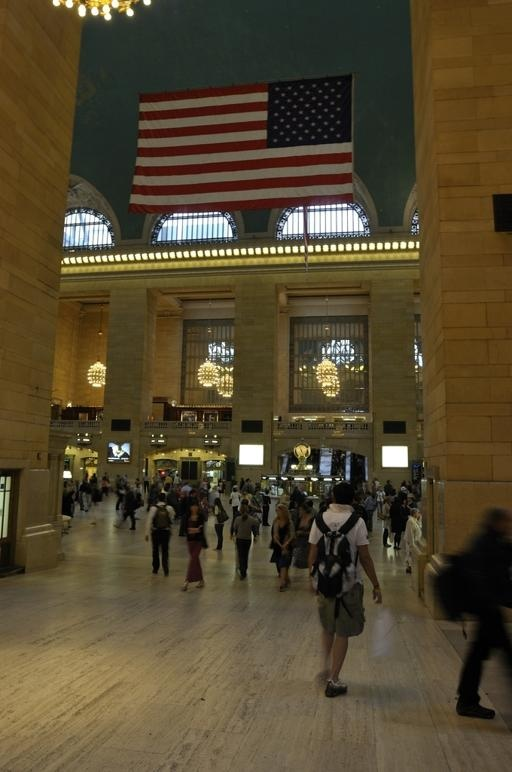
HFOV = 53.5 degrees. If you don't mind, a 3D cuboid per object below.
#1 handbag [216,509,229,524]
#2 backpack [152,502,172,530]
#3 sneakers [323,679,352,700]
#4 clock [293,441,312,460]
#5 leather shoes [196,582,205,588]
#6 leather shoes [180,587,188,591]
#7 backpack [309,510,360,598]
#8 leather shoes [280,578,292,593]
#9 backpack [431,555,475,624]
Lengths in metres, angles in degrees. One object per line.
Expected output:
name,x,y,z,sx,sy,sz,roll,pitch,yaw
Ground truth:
handbag,-0.842,3.179,12.306,0.244,0.335,0.859,3,-7,-4
backpack,-1.586,2.192,8.436,0.292,0.433,0.226,4,-7,-12
sneakers,0.500,1.839,3.095,0.158,0.108,0.074,1,-2,-37
clock,2.144,3.072,23.392,0.574,0.772,1.638,1,-7,11
leather shoes,-0.816,2.910,7.440,0.125,0.091,0.200,3,-7,-8
leather shoes,-0.995,2.824,7.032,0.072,0.059,0.132,5,-3,-5
backpack,0.485,1.032,3.128,0.268,0.506,0.253,7,-12,-17
leather shoes,0.431,3.004,7.594,0.087,0.136,0.306,-4,-28,8
backpack,0.977,1.050,2.621,0.328,0.321,0.207,-8,-23,19
